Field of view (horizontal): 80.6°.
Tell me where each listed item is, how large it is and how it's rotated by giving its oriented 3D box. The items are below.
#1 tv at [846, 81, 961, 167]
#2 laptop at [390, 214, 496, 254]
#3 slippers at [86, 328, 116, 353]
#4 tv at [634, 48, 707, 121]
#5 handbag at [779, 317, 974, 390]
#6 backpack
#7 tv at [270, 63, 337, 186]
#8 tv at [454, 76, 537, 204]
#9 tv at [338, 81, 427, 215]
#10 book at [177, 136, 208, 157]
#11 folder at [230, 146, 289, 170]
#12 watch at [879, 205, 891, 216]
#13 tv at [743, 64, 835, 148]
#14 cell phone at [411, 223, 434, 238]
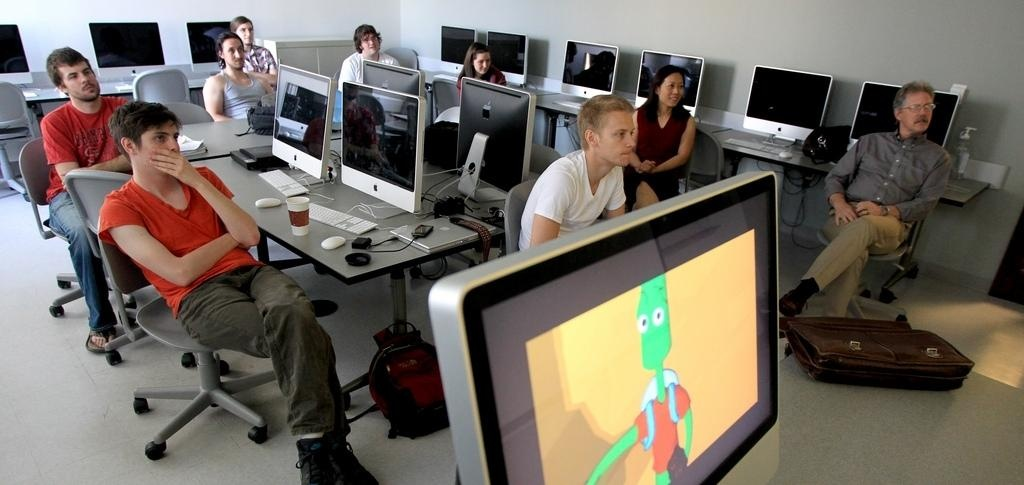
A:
[{"bbox_3d":[4.288,-1.346,6.893,0.903,0.763,0.239,16,7,41],"label":"tv"},{"bbox_3d":[-0.612,-0.075,5.366,0.573,0.052,0.410,-20,33,-34],"label":"laptop"},{"bbox_3d":[-3.866,0.919,5.656,0.159,0.128,0.331,-15,29,-34],"label":"slippers"},{"bbox_3d":[2.013,-1.934,7.508,0.992,0.843,0.528,21,39,27],"label":"tv"},{"bbox_3d":[2.559,0.783,4.322,0.945,0.253,0.653,2,28,3],"label":"handbag"},{"bbox_3d":[-0.940,1.168,5.623,0.866,1.072,0.376,-15,-4,-4],"label":"backpack"},{"bbox_3d":[-2.068,-1.097,5.958,1.186,0.975,0.237,28,29,36],"label":"tv"},{"bbox_3d":[-0.172,-0.921,5.749,1.122,1.058,0.381,30,43,35],"label":"tv"},{"bbox_3d":[-1.202,-0.821,5.519,1.126,0.915,0.391,20,27,28],"label":"tv"},{"bbox_3d":[-3.319,-0.992,6.316,0.295,0.083,0.283,18,28,27],"label":"book"},{"bbox_3d":[-2.604,-0.850,6.188,0.350,0.076,0.359,-9,28,-29],"label":"folder"},{"bbox_3d":[3.806,-0.322,6.164,0.075,0.029,0.096,-18,53,-6],"label":"watch"},{"bbox_3d":[3.379,-1.626,7.277,0.939,0.851,0.323,18,32,25],"label":"tv"},{"bbox_3d":[-0.795,-0.098,5.341,0.139,0.033,0.130,6,39,1],"label":"cell phone"}]
